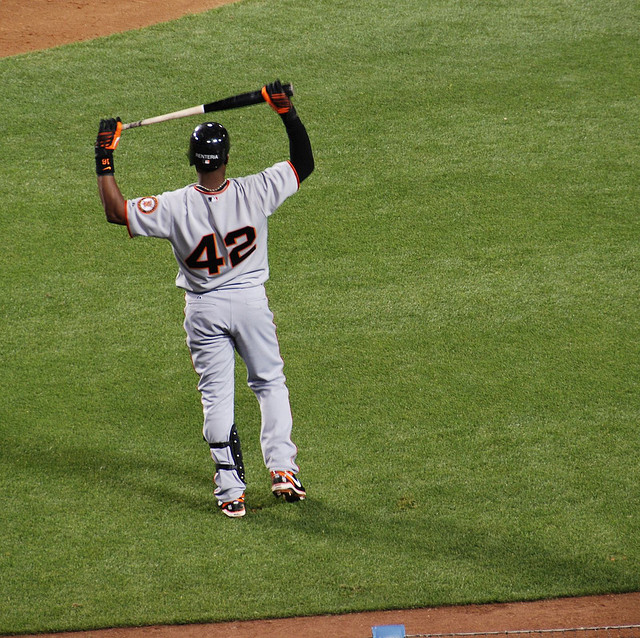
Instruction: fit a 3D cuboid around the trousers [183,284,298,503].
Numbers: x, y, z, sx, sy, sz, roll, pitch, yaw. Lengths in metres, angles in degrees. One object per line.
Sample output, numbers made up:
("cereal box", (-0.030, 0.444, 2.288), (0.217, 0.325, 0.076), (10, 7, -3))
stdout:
("trousers", (-0.526, 0.407, 9.105), (0.593, 1.224, 0.511), (-10, 20, -6))
